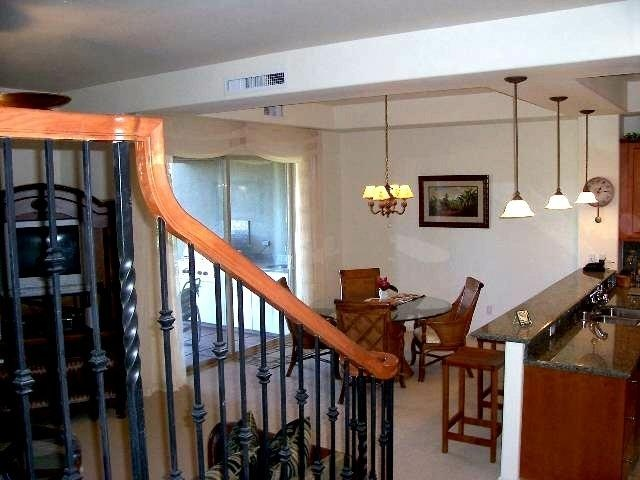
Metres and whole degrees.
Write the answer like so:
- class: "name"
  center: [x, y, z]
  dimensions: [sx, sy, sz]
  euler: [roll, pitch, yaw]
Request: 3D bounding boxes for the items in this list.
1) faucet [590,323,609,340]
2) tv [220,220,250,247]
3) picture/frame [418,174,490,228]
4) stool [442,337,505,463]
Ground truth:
- class: "faucet"
  center: [2.473, 0.813, 4.851]
  dimensions: [0.093, 0.046, 0.128]
  euler: [-3, 12, -6]
- class: "tv"
  center: [-1.257, -0.114, 7.440]
  dimensions: [0.349, 0.340, 0.619]
  euler: [5, 4, 16]
- class: "picture/frame"
  center: [1.981, -0.585, 7.894]
  dimensions: [0.758, 0.584, 0.035]
  euler: [2, 5, 29]
- class: "stool"
  center: [1.513, 1.413, 5.403]
  dimensions: [0.568, 0.897, 1.517]
  euler: [0, 6, 17]
